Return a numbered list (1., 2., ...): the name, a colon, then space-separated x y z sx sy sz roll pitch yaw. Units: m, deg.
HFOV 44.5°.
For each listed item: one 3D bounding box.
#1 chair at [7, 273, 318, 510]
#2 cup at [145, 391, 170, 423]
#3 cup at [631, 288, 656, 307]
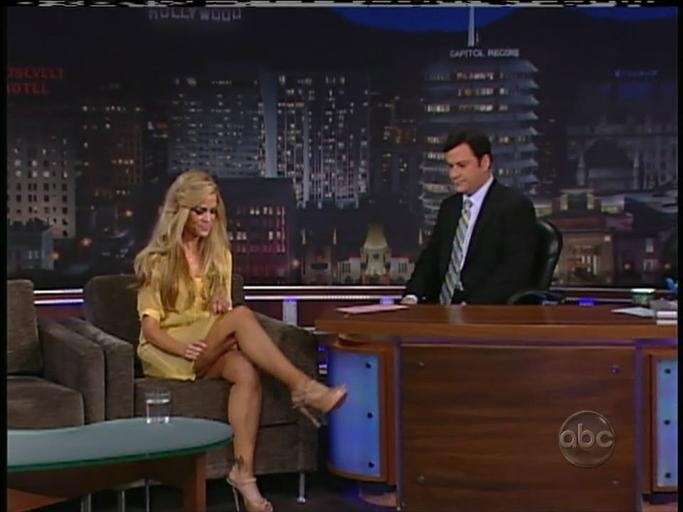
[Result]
1. chair: -1.024 0.520 4.318 1.287 1.129 1.200 3 -6 -28
2. cup: -0.759 0.636 3.507 0.120 0.126 0.118 0 -3 0
3. cup: 1.376 0.201 3.919 0.090 0.060 0.080 1 0 25
